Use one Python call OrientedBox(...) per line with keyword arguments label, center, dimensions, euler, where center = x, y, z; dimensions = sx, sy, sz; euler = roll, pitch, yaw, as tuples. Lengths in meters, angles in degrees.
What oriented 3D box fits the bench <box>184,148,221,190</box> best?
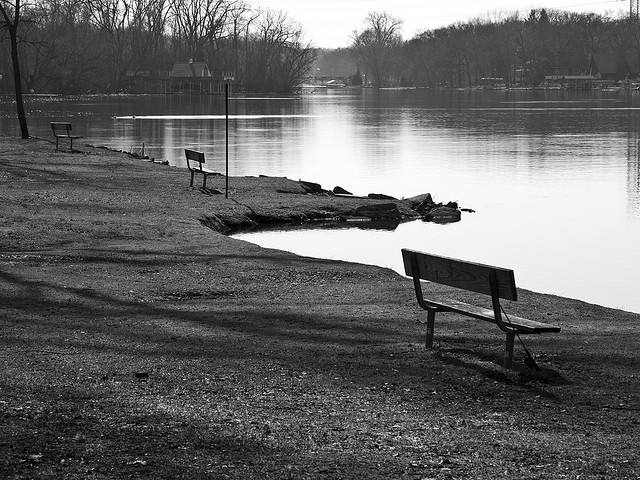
OrientedBox(label="bench", center=(-3.405, -2.071, 34.645), dimensions=(0.720, 1.081, 1.781), euler=(-4, 12, -24))
